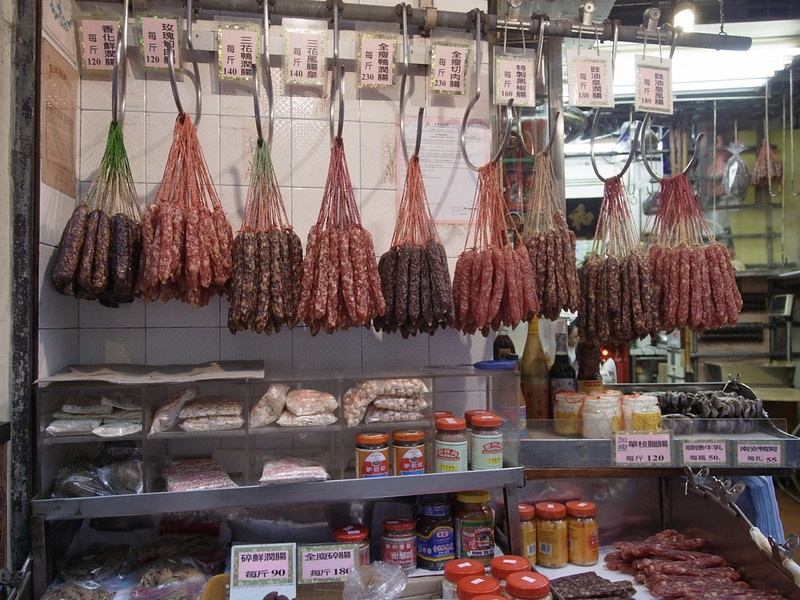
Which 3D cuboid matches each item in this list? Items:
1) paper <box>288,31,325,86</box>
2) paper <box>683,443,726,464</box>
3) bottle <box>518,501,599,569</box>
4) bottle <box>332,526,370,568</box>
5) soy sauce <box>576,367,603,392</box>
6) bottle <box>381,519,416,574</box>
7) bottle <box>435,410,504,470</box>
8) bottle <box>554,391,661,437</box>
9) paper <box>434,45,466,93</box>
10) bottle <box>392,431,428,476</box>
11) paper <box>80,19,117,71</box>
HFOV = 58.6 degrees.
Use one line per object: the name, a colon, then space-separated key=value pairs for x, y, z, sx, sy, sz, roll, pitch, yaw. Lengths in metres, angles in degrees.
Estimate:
paper: x=-0.406 y=-1.062 z=3.111 sx=0.220 sy=0.300 sz=0.031 roll=0 pitch=-3 yaw=-11
paper: x=1.303 y=0.659 z=3.072 sx=0.162 sy=0.103 sz=0.092 roll=0 pitch=0 yaw=7
bottle: x=0.691 y=1.026 z=3.118 sx=0.350 sy=0.262 sz=0.101 roll=-3 pitch=4 yaw=-7
bottle: x=-0.174 y=0.983 z=2.899 sx=0.138 sy=0.156 sz=0.142 roll=-3 pitch=-4 yaw=25
soy sauce: x=0.912 y=0.375 z=3.413 sx=0.102 sy=0.185 sz=0.105 roll=-3 pitch=-3 yaw=26
bottle: x=0.004 y=1.002 z=2.967 sx=0.171 sy=0.202 sz=0.176 roll=-1 pitch=-3 yaw=27
bottle: x=0.291 y=0.589 z=2.948 sx=0.307 sy=0.312 sz=0.169 roll=1 pitch=-5 yaw=-5
bottle: x=0.914 y=0.501 z=3.148 sx=0.335 sy=0.150 sz=0.222 roll=0 pitch=-3 yaw=0
paper: x=0.226 y=-1.069 z=3.266 sx=0.196 sy=0.222 sz=0.030 roll=0 pitch=6 yaw=-12
bottle: x=0.041 y=0.621 z=2.905 sx=0.150 sy=0.246 sz=0.155 roll=0 pitch=-7 yaw=0
paper: x=-1.287 y=-1.107 z=3.097 sx=0.182 sy=0.209 sz=0.046 roll=-2 pitch=4 yaw=0
